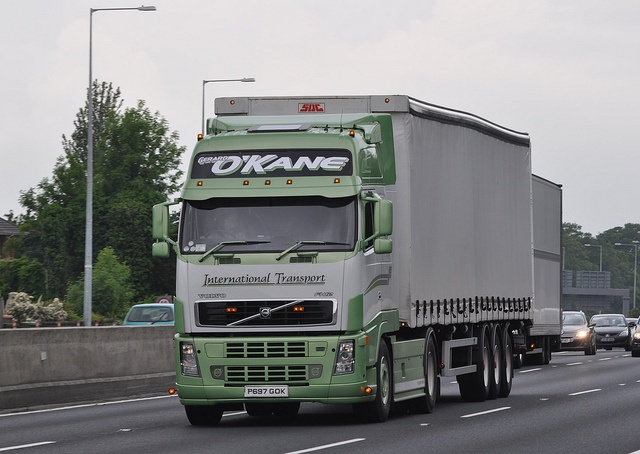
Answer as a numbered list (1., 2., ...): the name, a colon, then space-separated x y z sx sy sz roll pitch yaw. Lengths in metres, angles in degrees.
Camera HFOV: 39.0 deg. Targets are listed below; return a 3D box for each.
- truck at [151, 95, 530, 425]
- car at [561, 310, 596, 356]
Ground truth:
1. truck: 1.591 0.635 18.187 3.490 6.149 11.838 -4 -5 29
2. car: 11.479 4.735 40.312 1.665 1.703 3.842 -2 -11 15
